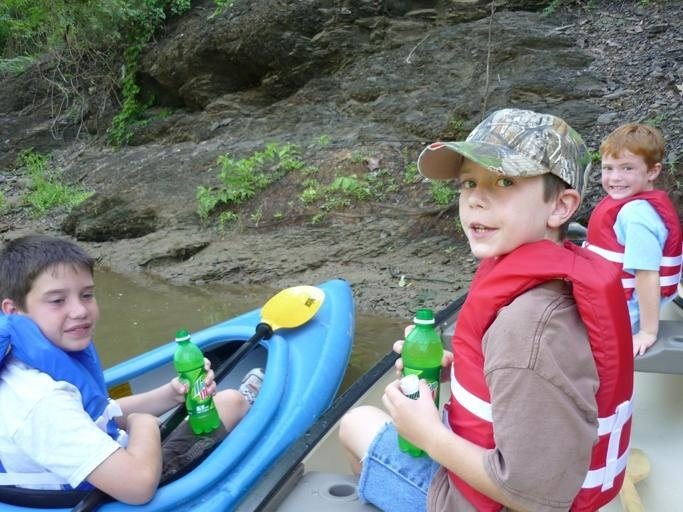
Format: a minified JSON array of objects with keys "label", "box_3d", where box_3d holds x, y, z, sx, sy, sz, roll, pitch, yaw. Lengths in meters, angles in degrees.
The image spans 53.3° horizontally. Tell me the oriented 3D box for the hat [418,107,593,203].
[{"label":"hat","box_3d":[0.543,-0.288,2.301,0.453,0.230,0.350,20,-4,-6]}]
